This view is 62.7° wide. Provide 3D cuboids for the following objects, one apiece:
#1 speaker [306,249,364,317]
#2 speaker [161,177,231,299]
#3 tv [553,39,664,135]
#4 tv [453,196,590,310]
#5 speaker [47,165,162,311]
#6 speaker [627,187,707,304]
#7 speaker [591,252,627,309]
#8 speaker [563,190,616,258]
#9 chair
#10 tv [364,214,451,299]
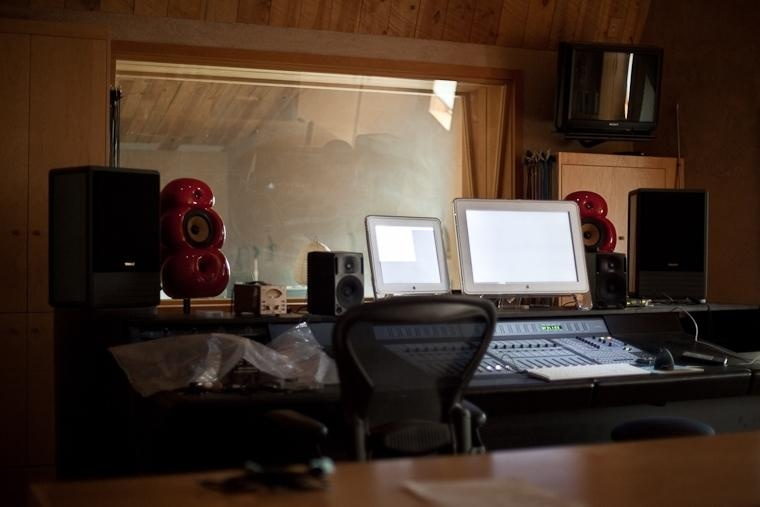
[{"bbox_3d":[-0.225,0.142,3.124,0.209,0.303,0.277,-1,0,-30],"label":"speaker"},{"bbox_3d":[-0.960,-0.076,3.208,0.331,0.645,0.166,-3,0,-19],"label":"speaker"},{"bbox_3d":[1.806,-1.315,4.970,0.798,0.683,0.307,1,3,-9],"label":"tv"},{"bbox_3d":[0.701,-0.006,3.094,0.633,0.472,0.062,2,-12,-20],"label":"tv"},{"bbox_3d":[-1.278,-0.072,2.898,0.489,0.687,0.143,-3,0,-18],"label":"speaker"},{"bbox_3d":[1.692,-0.058,3.729,0.404,0.622,0.355,1,1,14],"label":"speaker"},{"bbox_3d":[1.211,0.135,3.344,0.177,0.278,0.209,0,0,6],"label":"speaker"},{"bbox_3d":[1.194,-0.173,3.645,0.278,0.362,0.181,6,-2,-18],"label":"speaker"},{"bbox_3d":[0.075,0.391,2.273,0.527,0.787,0.579,-1,2,-12],"label":"chair"},{"bbox_3d":[0.135,0.017,3.226,0.645,0.546,0.062,2,-16,-27],"label":"tv"}]
